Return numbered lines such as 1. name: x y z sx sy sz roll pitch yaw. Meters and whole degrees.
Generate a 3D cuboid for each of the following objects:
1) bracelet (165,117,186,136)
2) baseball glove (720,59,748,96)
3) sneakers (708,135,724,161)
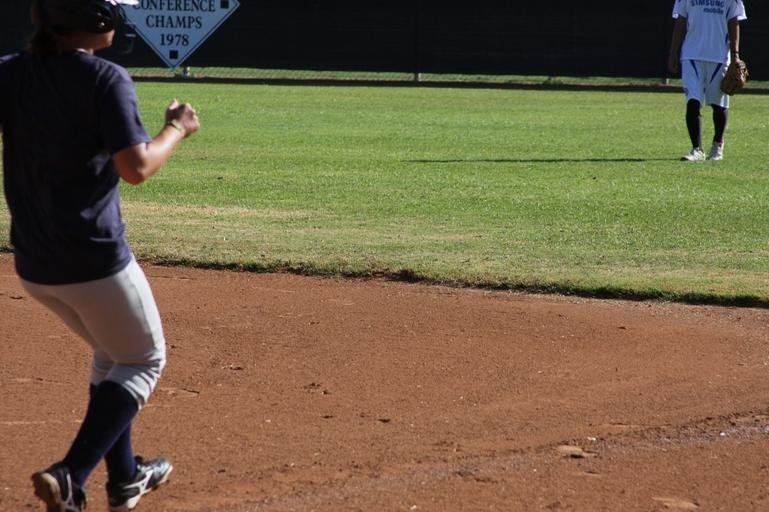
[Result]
1. bracelet: -1.304 -0.818 7.905 0.029 0.097 0.105 -50 41 -8
2. baseball glove: 4.193 -2.134 15.086 0.439 0.292 0.166 -24 58 -20
3. sneakers: 4.168 -1.359 15.663 0.142 0.155 0.359 10 56 33
